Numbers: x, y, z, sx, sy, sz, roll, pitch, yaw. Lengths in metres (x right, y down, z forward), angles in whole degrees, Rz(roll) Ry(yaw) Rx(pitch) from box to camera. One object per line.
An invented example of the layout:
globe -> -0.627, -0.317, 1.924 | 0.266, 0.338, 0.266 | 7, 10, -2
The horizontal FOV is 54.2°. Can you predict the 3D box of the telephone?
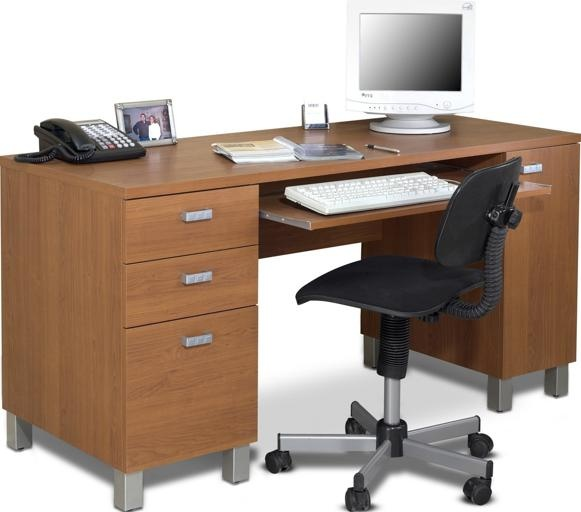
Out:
telephone -> -0.722, -0.421, 2.011 | 0.370, 0.088, 0.343 | -1, 24, -17
